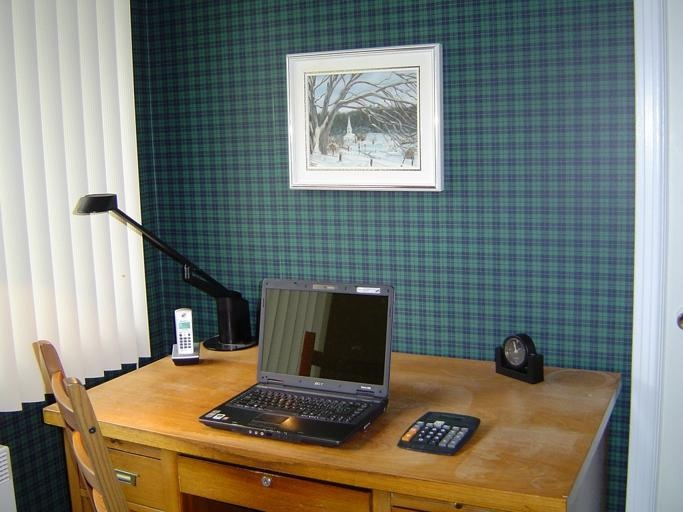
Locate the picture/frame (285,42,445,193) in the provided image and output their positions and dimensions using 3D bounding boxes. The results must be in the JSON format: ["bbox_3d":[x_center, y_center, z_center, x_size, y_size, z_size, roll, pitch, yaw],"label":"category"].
[{"bbox_3d":[0.074,-0.520,2.030,0.612,0.527,0.068,3,13,22],"label":"picture/frame"}]

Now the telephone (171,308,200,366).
[{"bbox_3d":[-0.600,0.303,2.029,0.125,0.199,0.119,-3,9,-19],"label":"telephone"}]

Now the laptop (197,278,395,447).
[{"bbox_3d":[-0.109,0.301,1.602,0.539,0.397,0.455,3,4,23],"label":"laptop"}]
